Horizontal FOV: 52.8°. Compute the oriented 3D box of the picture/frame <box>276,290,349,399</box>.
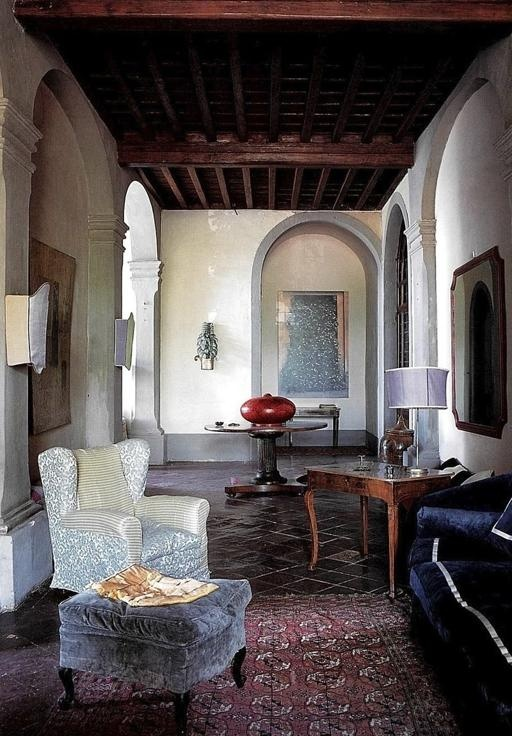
[{"bbox_3d":[1.182,-0.435,10.213,1.725,3.035,0.135,0,1,3],"label":"picture/frame"}]

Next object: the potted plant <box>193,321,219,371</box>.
[{"bbox_3d":[-0.844,-0.370,8.785,0.406,0.816,0.299,1,-6,-8],"label":"potted plant"}]

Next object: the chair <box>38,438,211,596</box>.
[{"bbox_3d":[-0.723,0.824,2.857,0.744,0.837,0.675,-3,-4,29],"label":"chair"}]

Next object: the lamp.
[{"bbox_3d":[1.063,0.325,3.337,0.333,0.637,0.355,0,-5,27],"label":"lamp"}]

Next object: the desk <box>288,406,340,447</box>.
[{"bbox_3d":[1.159,1.268,9.748,1.035,0.942,0.674,0,-7,2],"label":"desk"}]

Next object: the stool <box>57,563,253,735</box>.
[{"bbox_3d":[-0.306,0.771,1.654,0.417,0.347,0.454,-7,-16,26],"label":"stool"}]
